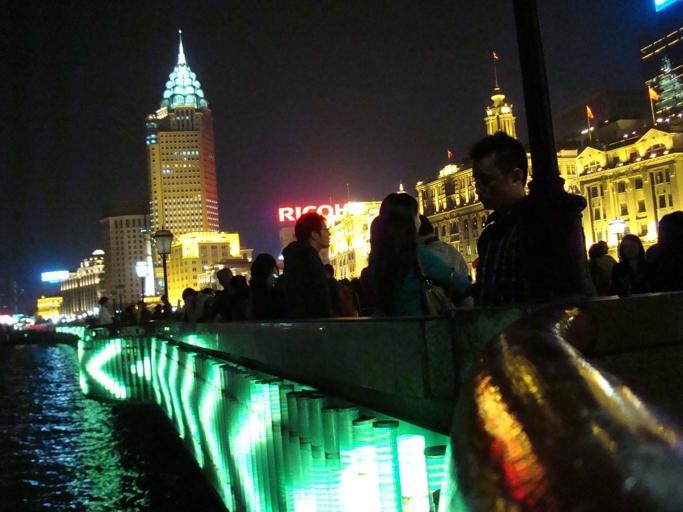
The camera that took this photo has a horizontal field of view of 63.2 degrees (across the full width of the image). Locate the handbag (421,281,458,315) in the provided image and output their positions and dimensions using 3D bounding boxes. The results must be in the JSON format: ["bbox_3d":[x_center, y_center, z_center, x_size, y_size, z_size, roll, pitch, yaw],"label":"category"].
[{"bbox_3d":[0.578,0.253,3.323,0.081,0.185,0.123,-37,3,17],"label":"handbag"}]

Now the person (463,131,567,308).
[{"bbox_3d":[0.912,-0.258,3.165,0.437,1.048,1.222,-9,-1,16],"label":"person"}]

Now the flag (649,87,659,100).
[{"bbox_3d":[42.919,-22.266,75.945,0.782,1.839,1.661,-8,-1,8],"label":"flag"}]
